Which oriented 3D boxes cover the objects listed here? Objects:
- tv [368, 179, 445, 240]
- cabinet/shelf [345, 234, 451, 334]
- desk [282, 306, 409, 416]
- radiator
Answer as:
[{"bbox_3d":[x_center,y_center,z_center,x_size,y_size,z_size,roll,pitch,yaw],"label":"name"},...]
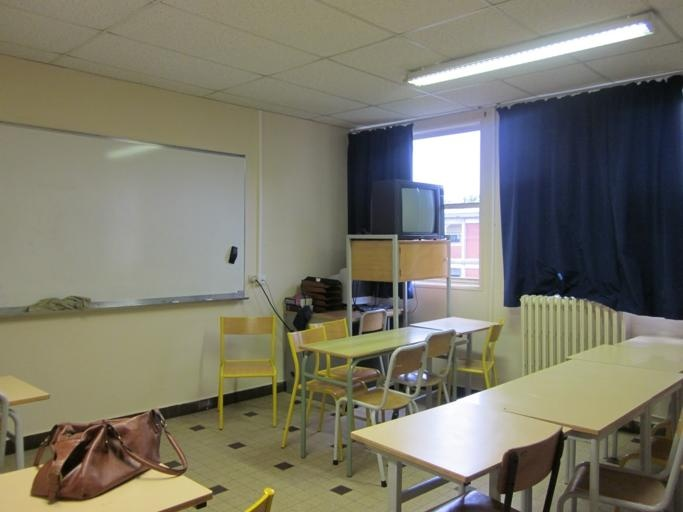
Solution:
[{"bbox_3d":[0.649,-0.451,5.421,0.470,0.601,0.840,2,7,44],"label":"tv"},{"bbox_3d":[0.602,0.309,5.465,0.693,1.027,1.089,1,3,44],"label":"cabinet/shelf"},{"bbox_3d":[0.059,1.019,4.778,0.486,0.749,0.431,13,1,16],"label":"desk"},{"bbox_3d":[2.093,0.682,4.698,0.758,0.839,0.123,2,3,36],"label":"radiator"}]
